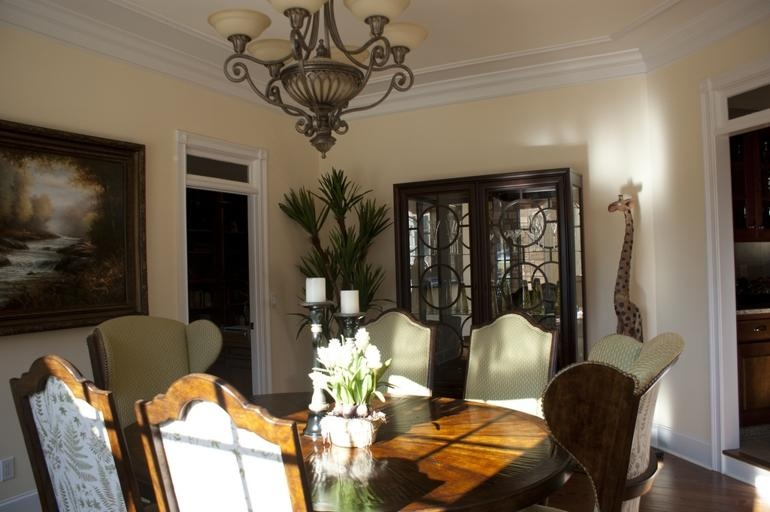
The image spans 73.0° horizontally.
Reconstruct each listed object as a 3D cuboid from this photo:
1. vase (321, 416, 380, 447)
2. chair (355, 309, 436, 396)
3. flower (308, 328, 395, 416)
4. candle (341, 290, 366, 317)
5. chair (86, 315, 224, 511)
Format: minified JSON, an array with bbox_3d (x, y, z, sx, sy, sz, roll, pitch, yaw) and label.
[{"bbox_3d":[-0.184,0.886,2.716,0.192,0.083,0.182,-3,-8,19],"label":"vase"},{"bbox_3d":[0.113,0.828,4.155,0.508,0.996,0.573,-7,-19,13],"label":"chair"},{"bbox_3d":[-0.207,0.665,2.911,0.450,0.470,0.390,-10,-19,28],"label":"flower"},{"bbox_3d":[-0.197,0.250,2.960,0.101,0.134,0.156,-1,12,-5],"label":"candle"},{"bbox_3d":[-1.533,1.193,3.702,0.854,1.478,0.919,-5,6,-40],"label":"chair"}]
